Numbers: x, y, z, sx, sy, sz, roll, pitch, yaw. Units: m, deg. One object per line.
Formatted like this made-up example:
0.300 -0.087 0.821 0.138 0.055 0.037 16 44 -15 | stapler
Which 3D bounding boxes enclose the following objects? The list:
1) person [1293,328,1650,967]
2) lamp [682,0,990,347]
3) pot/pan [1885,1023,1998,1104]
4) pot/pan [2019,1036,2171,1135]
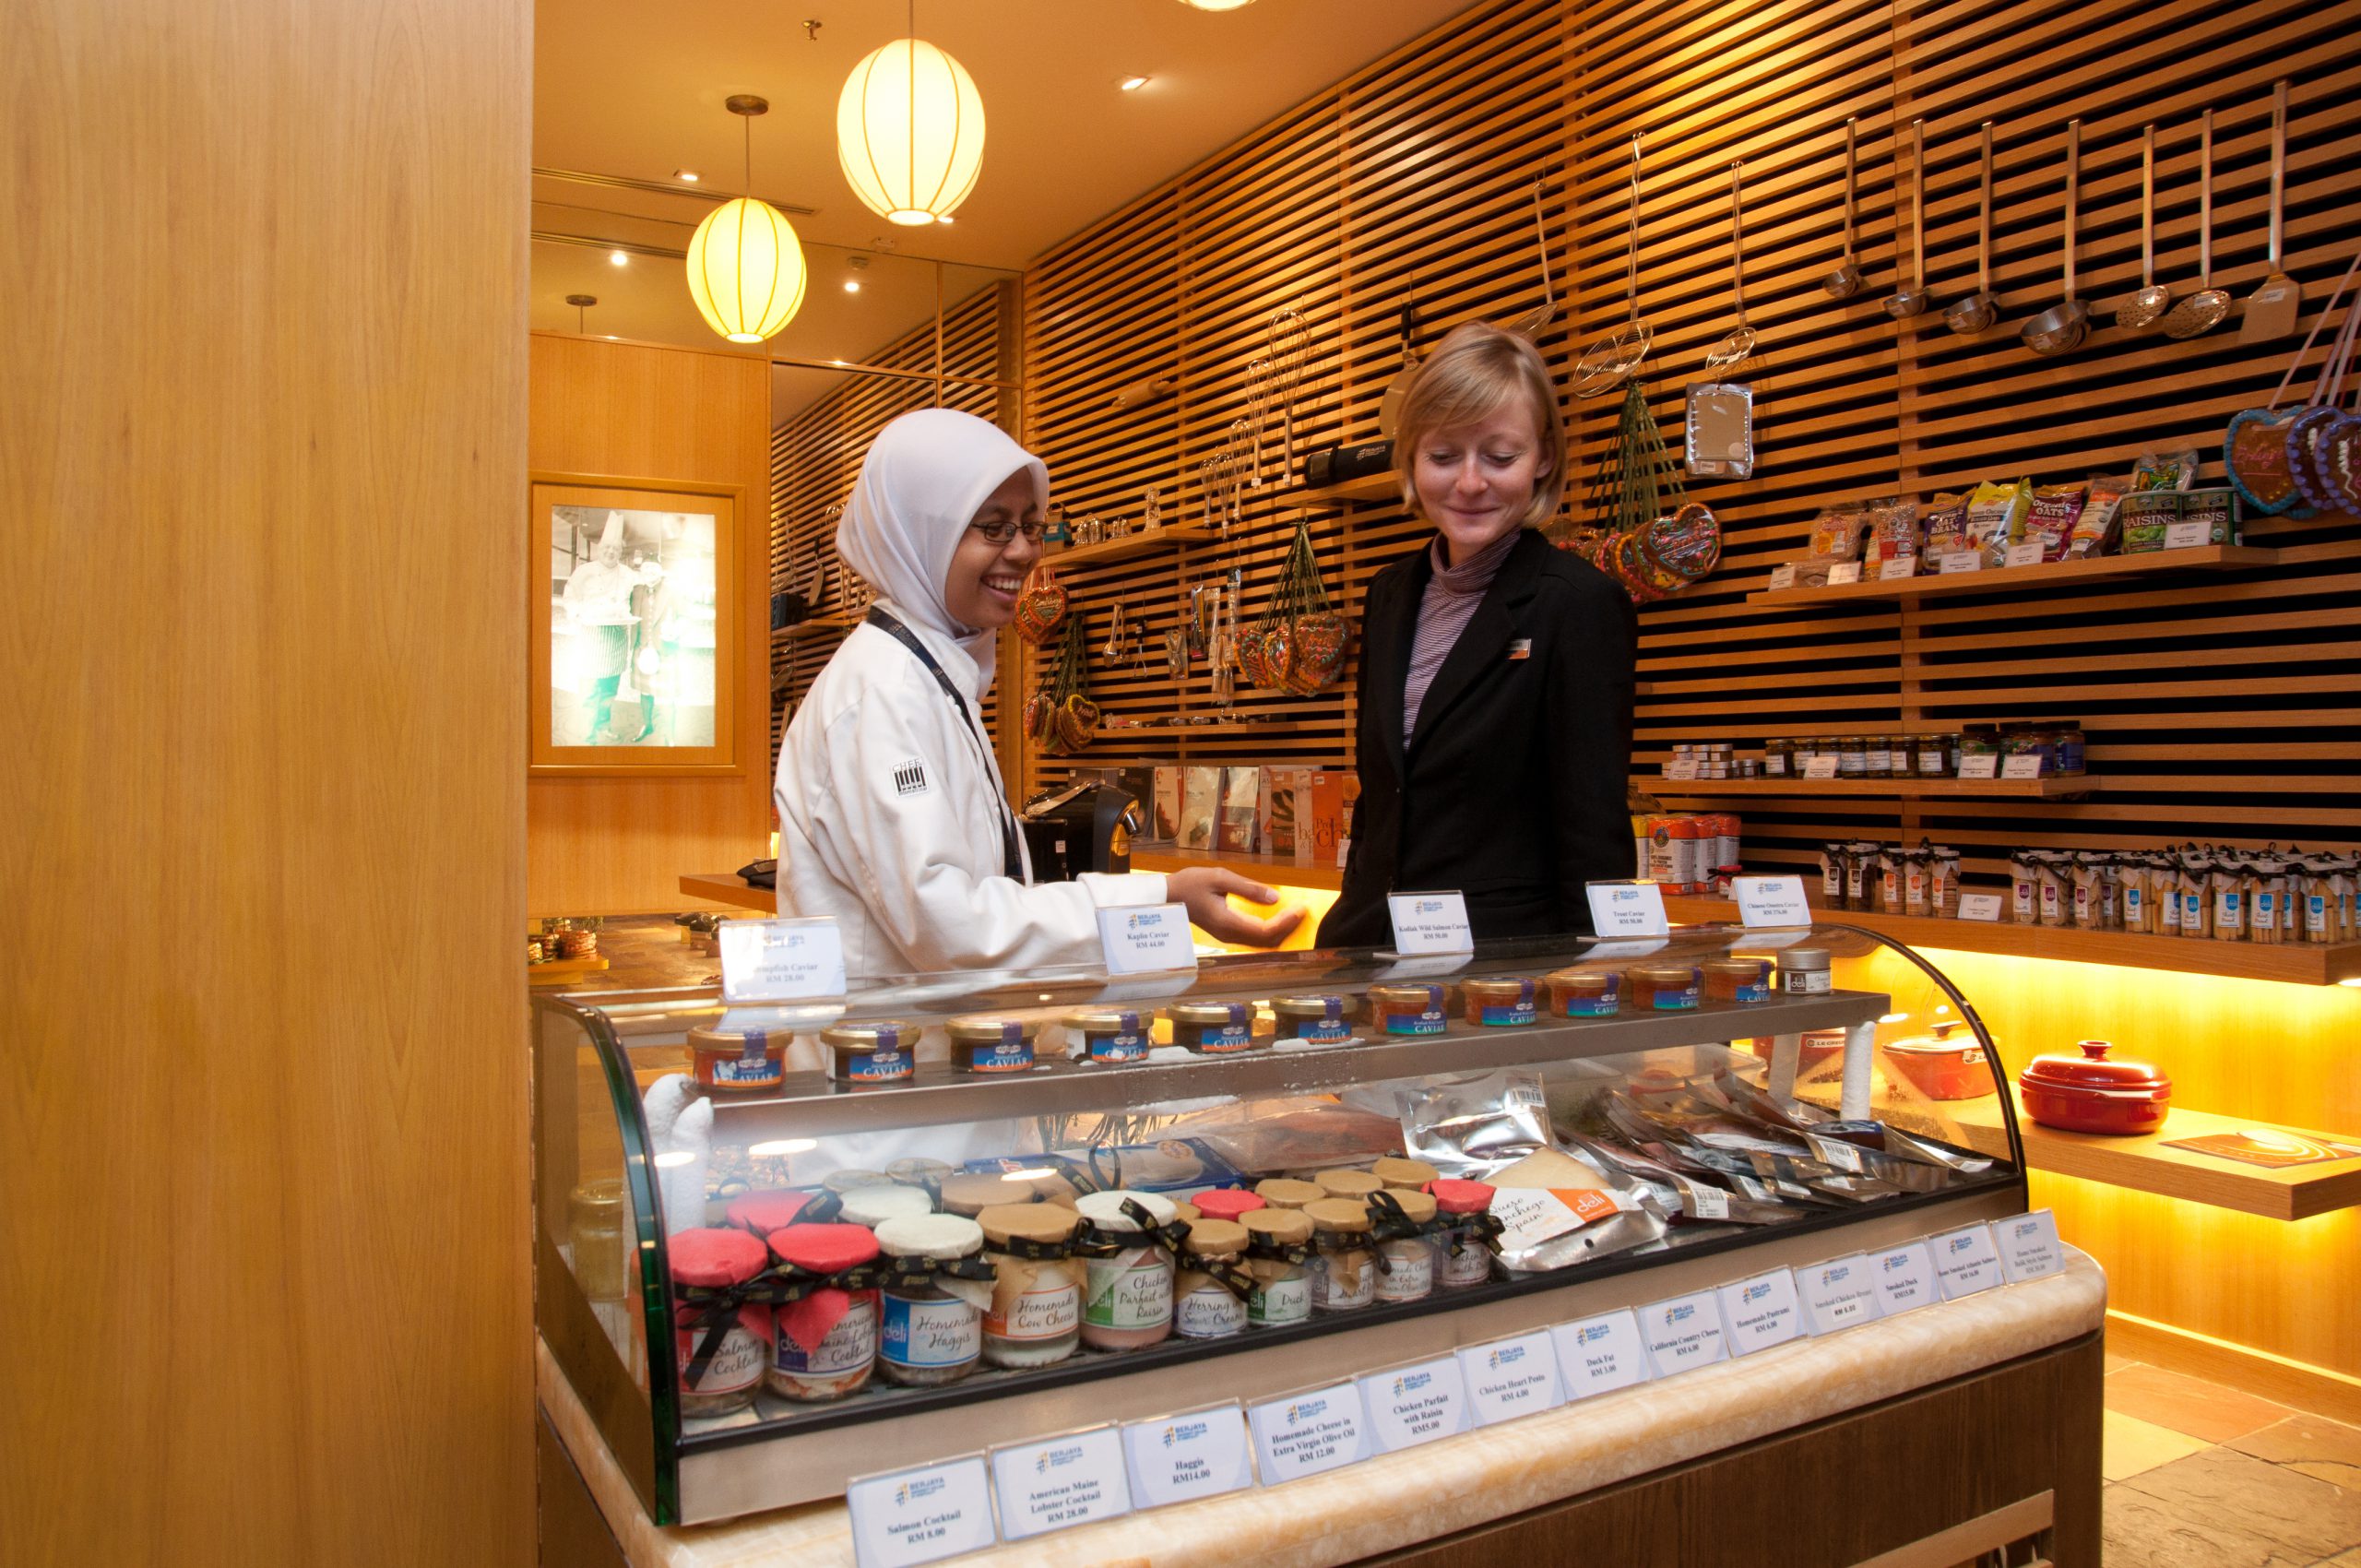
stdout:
0.511 -0.252 2.856 0.615 1.100 0.342 -3 0 41 | person
-1.333 -2.333 6.043 1.158 0.849 0.462 -17 -1 39 | lamp
1.089 0.406 2.284 0.111 0.071 0.169 3 -4 -30 | pot/pan
2.120 0.696 3.722 0.276 0.151 0.245 -2 -1 3 | pot/pan
